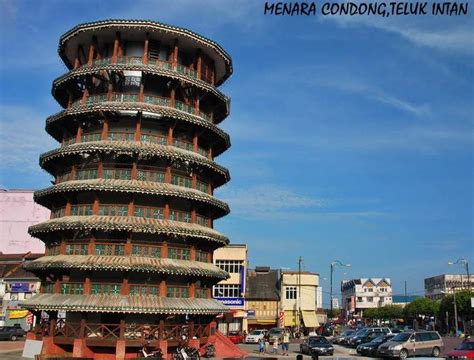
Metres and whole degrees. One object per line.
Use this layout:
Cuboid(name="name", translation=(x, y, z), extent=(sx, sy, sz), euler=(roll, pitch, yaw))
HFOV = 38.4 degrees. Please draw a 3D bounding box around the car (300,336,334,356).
Cuboid(name="car", translation=(9.237, 19.586, 79.213), extent=(2.598, 2.318, 4.245), euler=(11, -6, -11))
